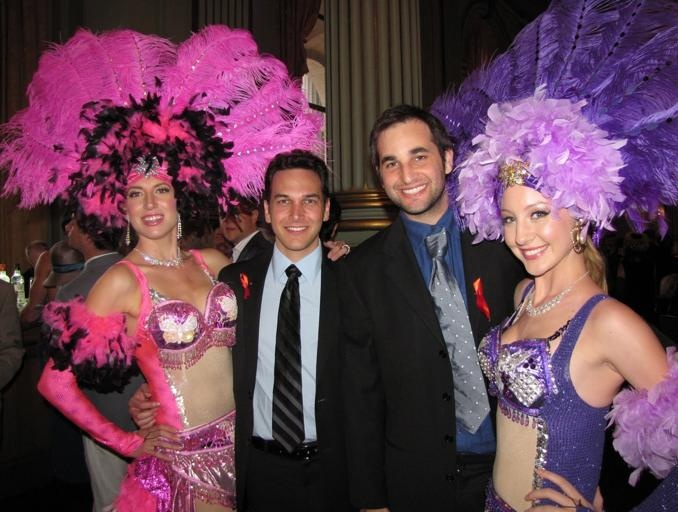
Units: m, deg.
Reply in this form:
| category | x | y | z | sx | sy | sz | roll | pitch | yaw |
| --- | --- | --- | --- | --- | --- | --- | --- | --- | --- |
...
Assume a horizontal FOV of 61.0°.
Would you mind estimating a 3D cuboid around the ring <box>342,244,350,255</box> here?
| category | x | y | z | sx | sy | sz | roll | pitch | yaw |
| --- | --- | --- | --- | --- | --- | --- | --- | --- | --- |
| ring | 0.043 | -0.038 | 3.387 | 0.018 | 0.059 | 0.041 | -8 | -11 | 1 |

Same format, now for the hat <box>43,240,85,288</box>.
| category | x | y | z | sx | sy | sz | roll | pitch | yaw |
| --- | --- | --- | --- | --- | --- | --- | --- | --- | --- |
| hat | -2.055 | 0.073 | 4.269 | 0.270 | 0.208 | 0.371 | -6 | 39 | -3 |

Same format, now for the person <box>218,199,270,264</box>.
| category | x | y | z | sx | sy | sz | roll | pitch | yaw |
| --- | --- | --- | --- | --- | --- | --- | --- | --- | --- |
| person | -0.894 | -0.216 | 5.302 | 0.389 | 0.774 | 0.411 | 0 | -14 | -43 |

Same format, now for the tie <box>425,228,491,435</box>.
| category | x | y | z | sx | sy | sz | roll | pitch | yaw |
| --- | --- | --- | --- | --- | --- | --- | --- | --- | --- |
| tie | 0.621 | 0.399 | 3.056 | 0.208 | 1.091 | 0.071 | -13 | -10 | 5 |

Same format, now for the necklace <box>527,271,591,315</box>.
| category | x | y | z | sx | sy | sz | roll | pitch | yaw |
| --- | --- | --- | --- | --- | --- | --- | --- | --- | --- |
| necklace | 1.042 | 0.243 | 2.732 | 0.214 | 0.083 | 0.215 | -39 | 14 | -5 |
